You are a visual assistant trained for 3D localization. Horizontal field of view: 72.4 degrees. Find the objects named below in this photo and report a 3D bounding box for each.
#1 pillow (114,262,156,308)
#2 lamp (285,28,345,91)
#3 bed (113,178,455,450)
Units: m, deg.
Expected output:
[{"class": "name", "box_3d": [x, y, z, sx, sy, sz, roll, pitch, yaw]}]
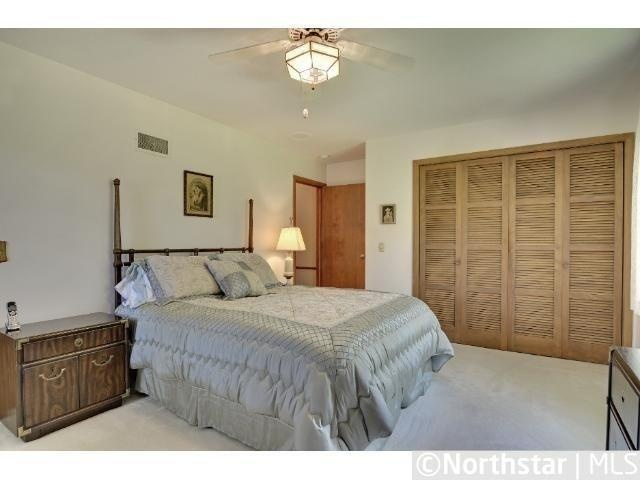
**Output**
[{"class": "pillow", "box_3d": [-1.601, 0.402, 3.796, 0.319, 0.395, 0.127, -22, -13, -15]}, {"class": "lamp", "box_3d": [-0.051, -1.240, 2.978, 0.361, 0.320, 0.219, 0, 11, 2]}, {"class": "bed", "box_3d": [-0.361, 0.639, 3.609, 2.419, 1.191, 2.103, -3, -3, 28]}]
